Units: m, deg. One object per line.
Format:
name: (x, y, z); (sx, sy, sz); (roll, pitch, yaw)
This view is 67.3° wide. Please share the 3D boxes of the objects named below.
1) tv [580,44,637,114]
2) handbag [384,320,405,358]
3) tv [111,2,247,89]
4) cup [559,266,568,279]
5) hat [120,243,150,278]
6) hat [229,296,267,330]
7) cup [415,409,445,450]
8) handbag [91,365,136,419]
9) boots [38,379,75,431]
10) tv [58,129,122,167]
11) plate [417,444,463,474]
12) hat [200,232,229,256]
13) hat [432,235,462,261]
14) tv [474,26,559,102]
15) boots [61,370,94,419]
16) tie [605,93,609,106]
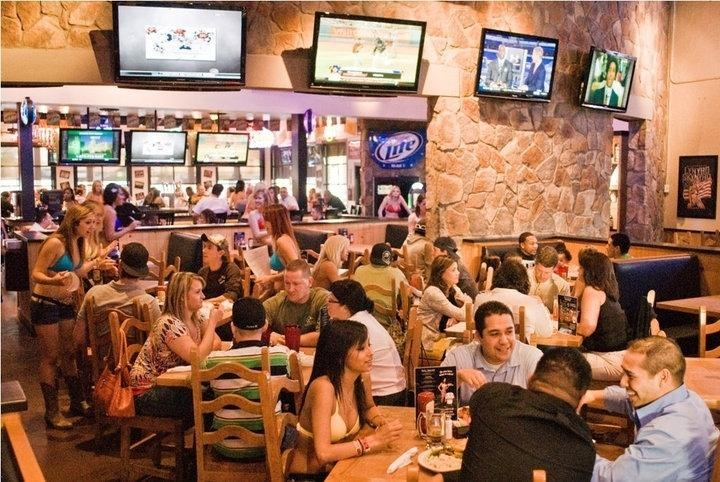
tv: (4.618, -3.002, 10.181); (1.411, 1.082, 0.157); (-1, 13, -32)
handbag: (0.324, 0.975, 5.394); (0.260, 0.259, 0.067); (13, -42, -28)
tv: (-2.285, -2.462, 6.718); (1.080, 0.744, 0.111); (-1, 6, -17)
cup: (2.625, 0.400, 7.029); (0.127, 0.145, 0.130); (-2, 3, 0)
hat: (-2.185, 0.153, 5.328); (0.373, 0.201, 0.266); (46, 27, 26)
hat: (-0.840, 0.556, 4.076); (0.235, 0.229, 0.190); (-5, 12, -13)
cup: (0.447, 1.172, 3.380); (0.194, 0.232, 0.222); (-1, 12, 9)
handbag: (-1.978, 1.167, 4.380); (0.411, 0.424, 0.176); (14, 4, 38)
boots: (-3.052, 1.677, 5.494); (0.452, 0.462, 0.198); (3, 6, 31)
tv: (-7.101, -2.485, 14.237); (1.047, 0.738, 0.146); (0, 12, -14)
plate: (0.468, 1.279, 3.185); (0.254, 0.077, 0.218); (3, 13, 28)
hat: (-1.691, -0.006, 6.369); (0.348, 0.180, 0.238); (35, -7, -37)
hat: (1.088, 0.086, 6.826); (0.347, 0.207, 0.235); (22, 4, 6)
tv: (2.493, -2.899, 8.880); (1.349, 0.978, 0.139); (3, 13, -24)
boots: (-2.935, 1.642, 5.783); (0.376, 0.423, 0.207); (6, 10, 15)
tie: (4.664, -2.683, 10.240); (0.092, 0.171, 0.044); (0, 7, -14)
